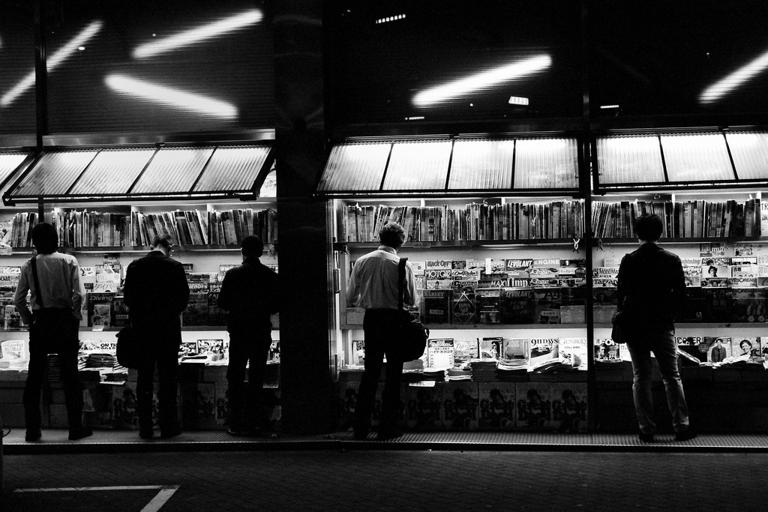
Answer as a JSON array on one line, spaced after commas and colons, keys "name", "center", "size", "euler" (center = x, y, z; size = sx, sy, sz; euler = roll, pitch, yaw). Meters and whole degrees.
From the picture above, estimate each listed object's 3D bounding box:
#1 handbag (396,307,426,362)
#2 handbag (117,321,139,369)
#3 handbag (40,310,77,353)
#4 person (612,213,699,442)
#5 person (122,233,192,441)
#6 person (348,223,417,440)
[{"name": "handbag", "center": [0.301, 0.830, 9.358], "size": [0.333, 0.521, 0.325], "euler": [-1, 13, 3]}, {"name": "handbag", "center": [-2.760, 0.977, 9.504], "size": [0.310, 0.382, 0.123], "euler": [1, -3, 4]}, {"name": "handbag", "center": [-3.535, 0.825, 9.486], "size": [0.452, 0.513, 0.313], "euler": [-2, -15, -14]}, {"name": "person", "center": [2.836, 0.742, 9.191], "size": [0.754, 2.257, 0.892], "euler": [-5, 13, -13]}, {"name": "person", "center": [-2.475, 0.955, 9.511], "size": [0.670, 1.920, 0.653], "euler": [-1, 13, 2]}, {"name": "person", "center": [-0.018, 0.786, 9.425], "size": [0.749, 2.163, 0.886], "euler": [-2, 13, -2]}]
